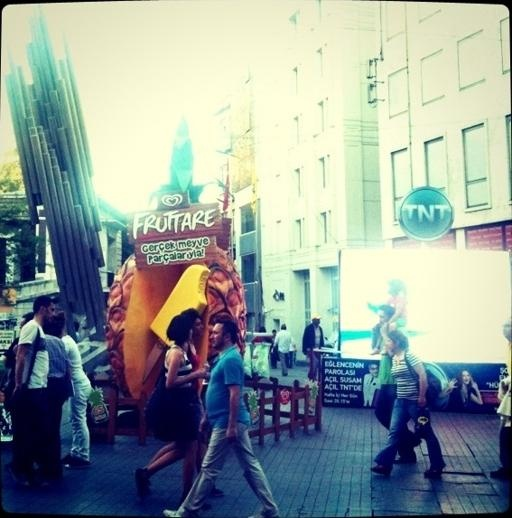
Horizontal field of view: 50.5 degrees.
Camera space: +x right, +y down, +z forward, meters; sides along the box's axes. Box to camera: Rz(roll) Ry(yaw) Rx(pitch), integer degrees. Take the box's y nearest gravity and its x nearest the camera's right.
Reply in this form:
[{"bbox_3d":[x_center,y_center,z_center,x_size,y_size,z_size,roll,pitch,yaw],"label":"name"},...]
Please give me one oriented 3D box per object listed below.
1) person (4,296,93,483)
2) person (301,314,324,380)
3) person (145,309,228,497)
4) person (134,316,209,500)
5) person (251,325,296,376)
[{"bbox_3d":[-2.432,1.284,6.133,0.651,2.144,0.567,2,-3,-36],"label":"person"},{"bbox_3d":[1.015,1.536,9.698,0.308,1.209,0.314,-1,0,6],"label":"person"},{"bbox_3d":[-0.701,1.374,5.157,0.574,1.815,0.603,3,-7,-29],"label":"person"},{"bbox_3d":[-0.797,1.361,5.284,0.648,1.807,0.799,2,3,-14],"label":"person"},{"bbox_3d":[0.335,1.897,11.156,0.744,1.428,0.806,2,1,35],"label":"person"}]
